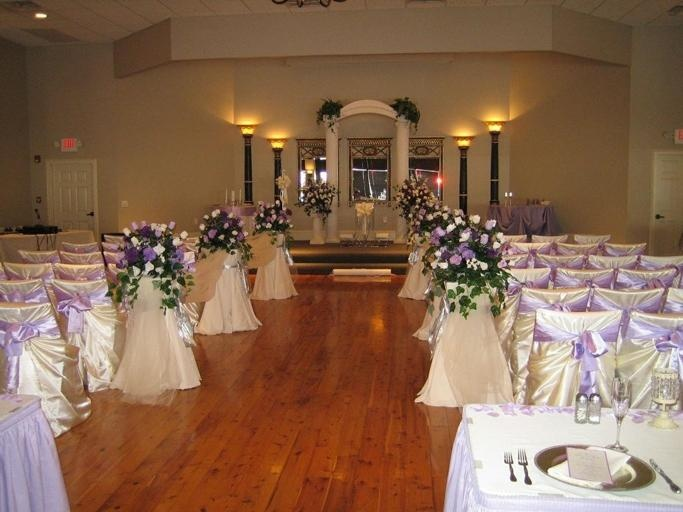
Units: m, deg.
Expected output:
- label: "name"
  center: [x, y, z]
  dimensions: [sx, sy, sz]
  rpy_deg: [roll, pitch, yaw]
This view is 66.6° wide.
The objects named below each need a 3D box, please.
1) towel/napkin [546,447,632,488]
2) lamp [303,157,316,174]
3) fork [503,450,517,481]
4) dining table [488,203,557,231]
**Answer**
- label: "towel/napkin"
  center: [0.866, 0.733, 1.803]
  dimensions: [0.141, 0.026, 0.161]
  rpy_deg: [-1, 9, 33]
- label: "lamp"
  center: [-0.792, -2.201, 12.706]
  dimensions: [0.287, 0.404, 0.316]
  rpy_deg: [-2, 7, -11]
- label: "fork"
  center: [0.588, 0.734, 1.811]
  dimensions: [0.021, 0.013, 0.084]
  rpy_deg: [0, 28, 5]
- label: "dining table"
  center: [3.474, -0.724, 9.966]
  dimensions: [0.984, 0.643, 0.907]
  rpy_deg: [-1, 7, 3]
